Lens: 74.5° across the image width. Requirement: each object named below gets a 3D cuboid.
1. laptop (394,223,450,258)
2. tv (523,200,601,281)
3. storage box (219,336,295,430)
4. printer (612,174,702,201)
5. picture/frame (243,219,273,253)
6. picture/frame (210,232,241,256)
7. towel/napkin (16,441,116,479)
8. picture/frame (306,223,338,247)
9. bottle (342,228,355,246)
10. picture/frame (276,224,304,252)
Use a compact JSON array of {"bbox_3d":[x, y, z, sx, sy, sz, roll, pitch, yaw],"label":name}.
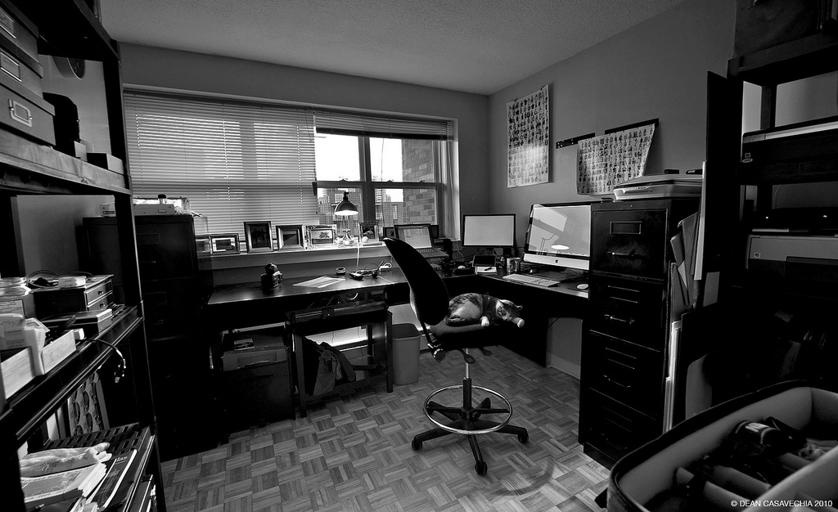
[{"bbox_3d":[0.003,-0.151,5.134,0.442,0.329,0.262,-4,7,-34],"label":"laptop"},{"bbox_3d":[1.129,-0.112,4.294,0.223,0.425,0.664,-7,7,-31],"label":"tv"},{"bbox_3d":[-1.169,0.951,4.292,0.605,0.745,0.567,-3,-3,-23],"label":"storage box"},{"bbox_3d":[1.481,-0.428,3.415,0.505,0.146,0.207,-2,7,20],"label":"printer"},{"bbox_3d":[-1.361,-0.156,4.608,0.291,0.321,0.045,-1,1,-30],"label":"picture/frame"},{"bbox_3d":[-1.598,-0.093,4.484,0.198,0.130,0.025,-2,6,-27],"label":"picture/frame"},{"bbox_3d":[-1.731,0.976,2.659,0.269,0.058,0.188,0,2,-28],"label":"towel/napkin"},{"bbox_3d":[-0.876,-0.183,4.904,0.088,0.196,0.320,1,8,42],"label":"picture/frame"},{"bbox_3d":[-0.663,-0.176,5.041,0.151,0.140,0.147,-7,9,-37],"label":"bottle"},{"bbox_3d":[-1.084,-0.145,4.659,0.221,0.200,0.100,-1,5,-27],"label":"picture/frame"}]
